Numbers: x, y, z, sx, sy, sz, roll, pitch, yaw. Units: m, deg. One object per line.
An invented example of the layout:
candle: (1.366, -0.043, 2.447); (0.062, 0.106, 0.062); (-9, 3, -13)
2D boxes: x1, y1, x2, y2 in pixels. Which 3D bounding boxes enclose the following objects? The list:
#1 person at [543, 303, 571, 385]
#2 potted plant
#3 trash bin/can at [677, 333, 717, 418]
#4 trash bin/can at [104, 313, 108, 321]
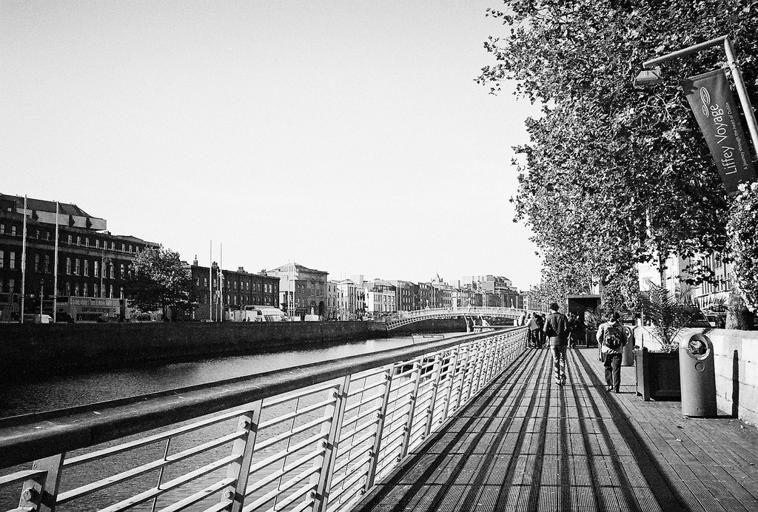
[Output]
person: (4.514, 2.210, 14.867); (0.603, 2.112, 1.234); (-5, -7, 18)
potted plant: (6.788, 1.950, 13.692); (1.279, 2.507, 1.394); (-3, 6, 29)
trash bin/can: (5.578, 2.103, 10.325); (0.566, 1.509, 0.591); (-6, -7, 21)
trash bin/can: (-29.711, 6.686, 64.610); (0.620, 0.967, 2.452); (0, -9, -26)
